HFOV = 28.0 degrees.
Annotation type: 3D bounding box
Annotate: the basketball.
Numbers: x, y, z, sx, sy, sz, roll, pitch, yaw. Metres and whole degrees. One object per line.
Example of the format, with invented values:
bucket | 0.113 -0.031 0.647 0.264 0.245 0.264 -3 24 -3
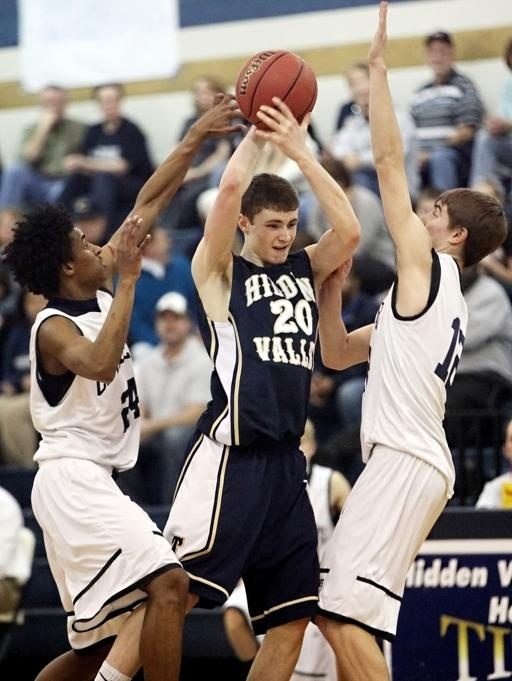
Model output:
basketball | 0.079 -0.997 4.066 0.323 0.320 0.234 -3 8 1
